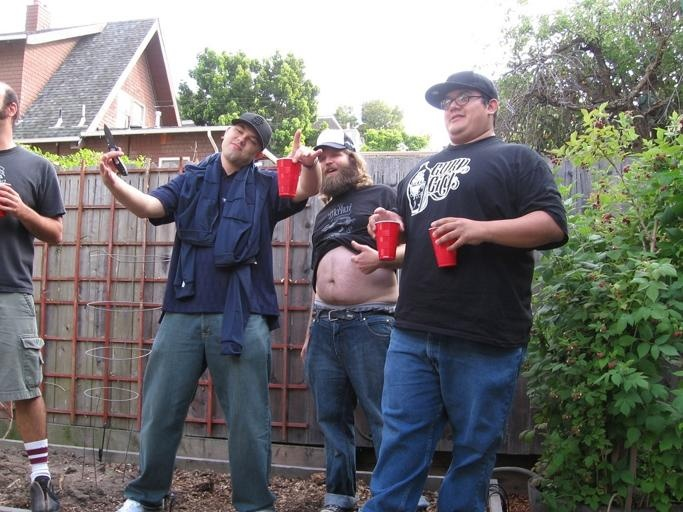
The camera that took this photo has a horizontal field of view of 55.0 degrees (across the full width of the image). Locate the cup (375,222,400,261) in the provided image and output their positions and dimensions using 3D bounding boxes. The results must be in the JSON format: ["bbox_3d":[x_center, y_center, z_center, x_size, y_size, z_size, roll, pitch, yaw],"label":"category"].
[{"bbox_3d":[0.279,-0.085,4.002,0.205,0.211,0.209,0,-7,0],"label":"cup"}]

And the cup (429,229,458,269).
[{"bbox_3d":[0.604,-0.037,3.591,0.197,0.220,0.194,0,0,0],"label":"cup"}]
